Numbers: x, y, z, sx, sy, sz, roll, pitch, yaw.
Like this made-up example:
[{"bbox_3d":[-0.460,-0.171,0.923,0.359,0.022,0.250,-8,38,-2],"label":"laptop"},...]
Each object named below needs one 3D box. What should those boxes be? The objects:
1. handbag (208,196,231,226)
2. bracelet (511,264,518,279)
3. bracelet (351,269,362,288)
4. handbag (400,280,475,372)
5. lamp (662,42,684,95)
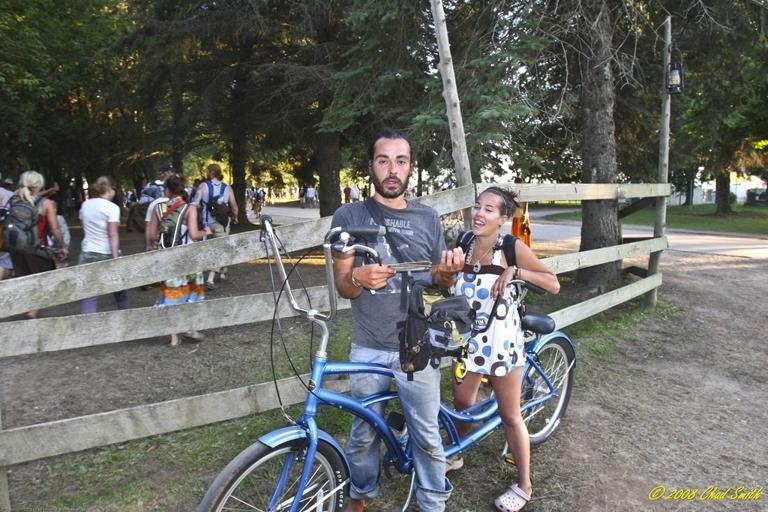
[{"bbox_3d":[-3.183,-0.830,11.326,0.207,0.391,0.494,-30,41,-1],"label":"handbag"},{"bbox_3d":[1.415,0.190,6.283,0.076,0.110,0.112,3,4,2],"label":"bracelet"},{"bbox_3d":[-0.284,0.243,5.650,0.034,0.130,0.130,-11,8,-10],"label":"bracelet"},{"bbox_3d":[0.617,0.726,6.003,0.844,0.863,0.770,-9,-5,34],"label":"handbag"},{"bbox_3d":[5.579,-3.562,11.212,0.296,0.967,0.257,0,10,27],"label":"lamp"}]
